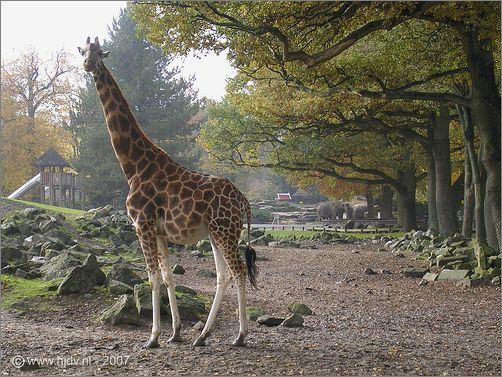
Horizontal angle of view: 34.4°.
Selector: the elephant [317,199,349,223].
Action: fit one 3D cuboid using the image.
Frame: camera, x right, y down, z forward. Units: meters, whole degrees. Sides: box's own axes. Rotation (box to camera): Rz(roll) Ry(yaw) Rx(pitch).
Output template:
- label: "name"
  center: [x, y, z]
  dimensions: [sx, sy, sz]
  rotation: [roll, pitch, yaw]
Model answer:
- label: "elephant"
  center: [5.815, 1.550, 58.259]
  dimensions: [1.563, 1.460, 2.490]
  rotation: [4, -10, -36]
